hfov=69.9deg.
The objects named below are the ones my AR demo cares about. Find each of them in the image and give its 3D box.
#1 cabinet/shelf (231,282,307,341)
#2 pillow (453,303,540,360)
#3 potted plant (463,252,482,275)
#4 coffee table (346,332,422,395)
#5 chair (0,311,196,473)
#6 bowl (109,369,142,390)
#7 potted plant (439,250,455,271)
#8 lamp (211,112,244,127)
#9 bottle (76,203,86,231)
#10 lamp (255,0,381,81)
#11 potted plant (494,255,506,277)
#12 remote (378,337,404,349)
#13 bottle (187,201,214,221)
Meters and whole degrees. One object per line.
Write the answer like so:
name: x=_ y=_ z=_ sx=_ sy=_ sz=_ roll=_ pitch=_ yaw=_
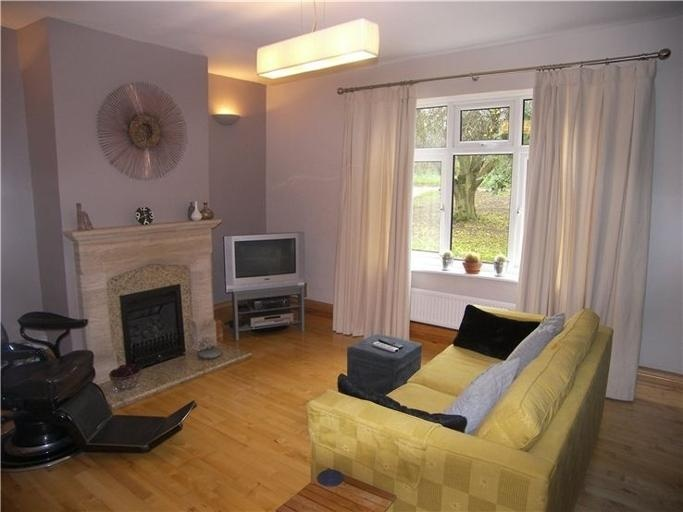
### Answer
cabinet/shelf: x=-0.922 y=0.678 z=6.025 sx=0.877 sy=0.572 sz=0.491 roll=-5 pitch=1 yaw=-18
pillow: x=1.295 y=0.678 z=4.213 sx=0.188 sy=0.393 sz=0.635 roll=35 pitch=-14 yaw=-31
potted plant: x=1.472 y=0.089 z=5.531 sx=0.217 sy=0.246 sz=0.218 roll=2 pitch=5 yaw=-2
coffee table: x=0.401 y=0.892 z=4.300 sx=0.466 sy=0.370 sz=0.492 roll=6 pitch=11 yaw=36
chair: x=-1.998 y=1.050 z=4.010 sx=1.594 sy=1.048 sz=0.911 roll=3 pitch=8 yaw=0
bowl: x=-1.970 y=1.134 z=4.449 sx=0.194 sy=0.126 sz=0.193 roll=-18 pitch=5 yaw=2
potted plant: x=1.221 y=0.049 z=5.689 sx=0.182 sy=0.264 sz=0.180 roll=-4 pitch=10 yaw=-33
lamp: x=-1.463 y=-1.781 z=6.354 sx=0.413 sy=0.142 sz=0.204 roll=-12 pitch=13 yaw=-43
bottle: x=-2.381 y=-0.360 z=4.441 sx=0.073 sy=0.234 sz=0.150 roll=-8 pitch=12 yaw=-27
lamp: x=-0.211 y=-1.699 z=3.753 sx=1.072 sy=0.249 sz=0.276 roll=-2 pitch=-7 yaw=33
potted plant: x=1.747 y=0.109 z=5.398 sx=0.121 sy=0.217 sz=0.112 roll=1 pitch=11 yaw=17
remote: x=0.429 y=0.764 z=4.338 sx=0.150 sy=0.041 sz=0.088 roll=17 pitch=21 yaw=39
bottle: x=-1.562 y=-0.490 z=5.321 sx=0.188 sy=0.211 sz=0.287 roll=4 pitch=12 yaw=33
